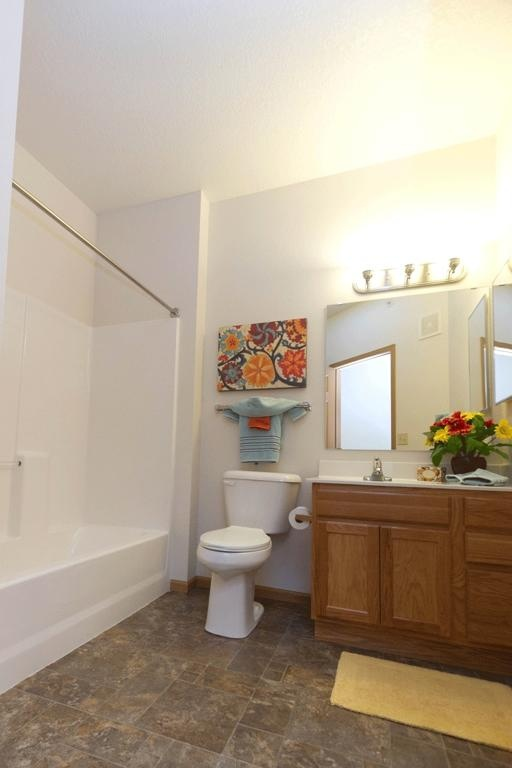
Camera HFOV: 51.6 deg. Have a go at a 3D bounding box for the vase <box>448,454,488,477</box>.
[{"bbox_3d":[0.966,0.363,2.422,0.106,0.069,0.109,2,-5,-8],"label":"vase"}]

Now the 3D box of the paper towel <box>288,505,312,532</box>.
[{"bbox_3d":[0.207,0.653,2.599,0.114,0.109,0.138,3,-8,14],"label":"paper towel"}]

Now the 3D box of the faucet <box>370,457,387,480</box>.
[{"bbox_3d":[0.564,0.410,2.526,0.062,0.094,0.127,1,0,5],"label":"faucet"}]

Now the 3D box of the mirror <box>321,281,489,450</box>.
[{"bbox_3d":[0.775,-0.070,2.681,0.803,0.940,0.039,-3,-12,23],"label":"mirror"}]

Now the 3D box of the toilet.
[{"bbox_3d":[-0.065,0.779,2.551,0.382,0.675,0.635,3,-2,18],"label":"toilet"}]

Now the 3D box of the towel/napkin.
[{"bbox_3d":[0.060,0.249,2.906,0.348,0.254,0.062,-4,-16,21],"label":"towel/napkin"}]

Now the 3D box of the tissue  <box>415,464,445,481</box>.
[{"bbox_3d":[0.797,0.422,2.450,0.109,0.079,0.062,-8,-26,24],"label":"tissue "}]
